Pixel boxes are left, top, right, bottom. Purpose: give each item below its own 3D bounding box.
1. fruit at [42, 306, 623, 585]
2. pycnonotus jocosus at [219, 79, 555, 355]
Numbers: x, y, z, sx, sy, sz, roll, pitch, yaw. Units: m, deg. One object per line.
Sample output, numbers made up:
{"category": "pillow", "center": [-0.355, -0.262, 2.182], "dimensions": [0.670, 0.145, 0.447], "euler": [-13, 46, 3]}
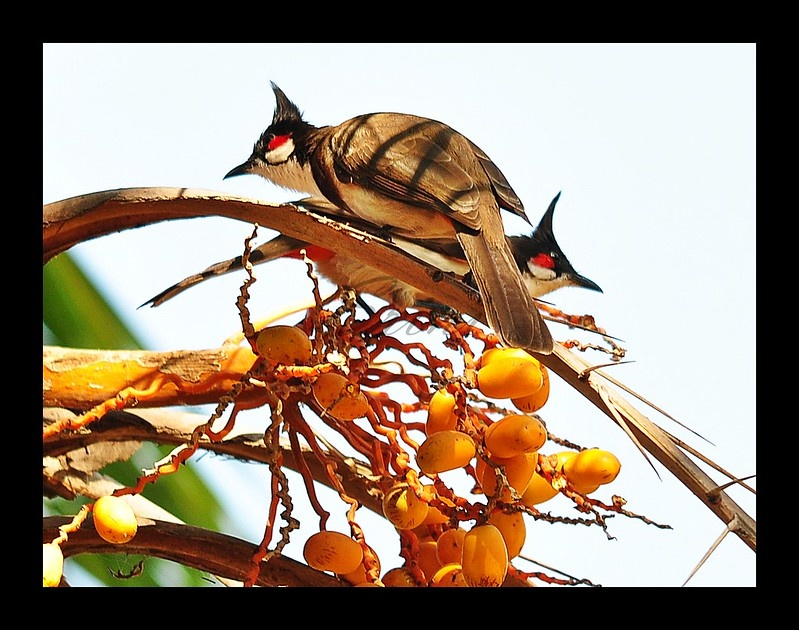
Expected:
{"category": "fruit", "center": [-0.108, 0.156, 1.603], "dimensions": [0.720, 0.326, 0.363], "euler": [9, -22, 5]}
{"category": "pycnonotus jocosus", "center": [0.090, -0.169, 1.755], "dimensions": [0.659, 0.217, 0.327], "euler": [12, -65, 24]}
